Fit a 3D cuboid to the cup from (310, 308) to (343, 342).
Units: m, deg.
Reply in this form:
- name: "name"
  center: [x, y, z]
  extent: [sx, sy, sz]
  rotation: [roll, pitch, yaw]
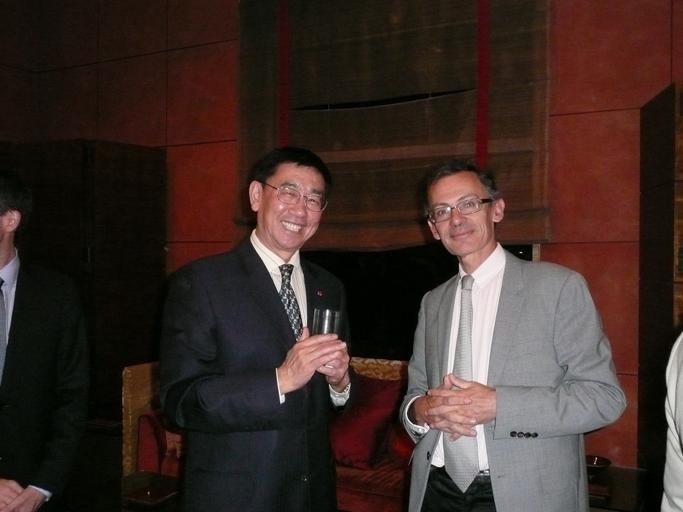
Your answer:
- name: "cup"
  center: [-0.068, 0.283, 2.594]
  extent: [0.112, 0.113, 0.119]
  rotation: [-1, -5, 0]

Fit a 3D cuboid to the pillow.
- name: "pillow"
  center: [0.254, 1.136, 4.243]
  extent: [0.721, 0.705, 0.236]
  rotation: [-4, -27, 30]
